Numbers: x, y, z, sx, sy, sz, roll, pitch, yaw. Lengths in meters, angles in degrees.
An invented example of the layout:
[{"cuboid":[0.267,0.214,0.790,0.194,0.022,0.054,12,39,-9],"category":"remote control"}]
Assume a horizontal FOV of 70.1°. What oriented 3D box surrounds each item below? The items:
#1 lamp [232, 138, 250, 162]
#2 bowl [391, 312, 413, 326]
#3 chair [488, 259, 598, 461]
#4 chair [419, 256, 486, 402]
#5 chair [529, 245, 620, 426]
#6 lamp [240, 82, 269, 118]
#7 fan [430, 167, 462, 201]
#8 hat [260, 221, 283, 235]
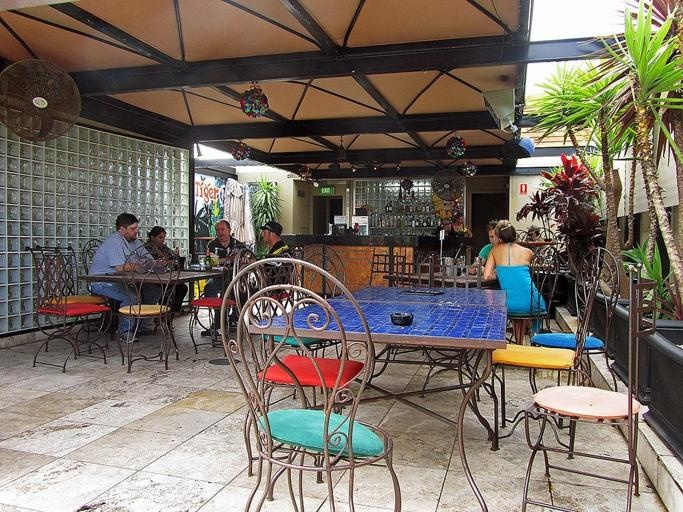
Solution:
[{"cuboid":[-1.617,-1.701,7.720,0.230,0.348,0.510,-4,2,-14],"category":"lamp"},{"cuboid":[0.334,0.348,2.711,0.087,0.035,0.082,-1,0,0],"category":"bowl"},{"cuboid":[1.303,0.700,3.432,0.739,1.059,0.671,2,-8,15],"category":"chair"},{"cuboid":[0.839,0.575,3.702,0.555,0.313,1.281,0,7,12],"category":"chair"},{"cuboid":[1.481,0.616,3.445,0.596,1.189,0.571,-2,5,19],"category":"chair"},{"cuboid":[-0.968,-1.732,5.398,0.385,0.118,0.418,2,-11,-4],"category":"lamp"},{"cuboid":[2.206,-1.499,10.206,0.545,0.675,0.307,-2,3,19],"category":"fan"},{"cuboid":[-0.930,-0.367,6.374,0.293,0.142,0.200,21,6,3],"category":"hat"}]
